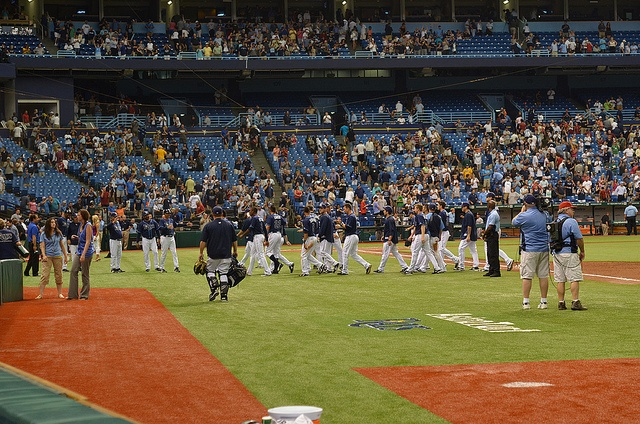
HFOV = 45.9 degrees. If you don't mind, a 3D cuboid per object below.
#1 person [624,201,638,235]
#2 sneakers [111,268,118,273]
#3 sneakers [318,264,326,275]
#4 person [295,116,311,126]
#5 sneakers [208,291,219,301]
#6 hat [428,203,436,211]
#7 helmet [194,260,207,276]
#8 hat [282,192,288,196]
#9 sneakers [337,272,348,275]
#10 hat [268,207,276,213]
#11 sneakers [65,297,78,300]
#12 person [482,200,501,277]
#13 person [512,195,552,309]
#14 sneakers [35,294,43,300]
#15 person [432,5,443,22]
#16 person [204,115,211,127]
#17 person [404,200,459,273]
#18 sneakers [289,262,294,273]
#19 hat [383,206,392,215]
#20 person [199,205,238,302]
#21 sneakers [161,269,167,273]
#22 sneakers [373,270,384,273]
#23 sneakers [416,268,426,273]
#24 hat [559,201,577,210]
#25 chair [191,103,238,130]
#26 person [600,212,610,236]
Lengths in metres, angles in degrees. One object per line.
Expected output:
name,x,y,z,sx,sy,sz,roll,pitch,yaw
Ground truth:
person,17.218,0.422,42.082,0.530,1.563,1.250,-2,0,24
sneakers,-7.500,2.125,27.497,0.262,0.174,0.092,0,1,0
sneakers,0.031,1.952,26.122,0.195,0.443,0.151,12,17,-3
person,-1.202,-6.110,51.049,0.566,0.456,1.432,21,10,-4
sneakers,-2.886,2.243,20.482,0.146,0.152,0.358,19,-52,-31
hat,3.844,-0.183,26.218,0.204,0.255,0.292,-2,0,19
helmet,-3.267,1.485,20.421,0.367,0.439,0.200,-3,20,-26
hat,-2.049,-1.051,42.782,0.221,0.099,0.315,-3,8,-27
sneakers,0.740,2.115,26.126,0.364,0.138,0.122,4,-1,12
hat,-1.655,-0.109,25.787,0.255,0.189,0.215,1,-20,-7
sneakers,-6.930,2.393,21.077,0.307,0.116,0.111,7,1,10
person,5.569,0.845,24.785,0.522,2.426,0.823,-2,0,12
person,5.280,0.998,18.924,0.803,2.764,0.565,-2,0,13
sneakers,-7.970,2.376,21.389,0.200,0.124,0.398,-2,0,-20
person,9.120,-15.637,59.614,0.889,1.430,1.685,-2,0,7
person,-7.410,-5.862,49.130,0.451,0.816,1.857,-2,0,-10
person,3.939,0.882,26.361,1.453,2.355,1.076,-2,0,9
sneakers,-1.023,1.915,26.322,0.124,0.348,0.152,-2,-3,-3
hat,2.260,-0.069,26.128,0.253,0.309,0.329,4,13,21
person,-2.742,1.123,20.262,0.951,2.549,0.761,-2,0,-9
sneakers,-5.689,2.137,27.629,0.253,0.164,0.083,-1,7,-8
sneakers,1.984,2.054,26.438,0.330,0.125,0.111,2,0,15
sneakers,3.503,2.045,26.585,0.171,0.148,0.415,1,-2,-12
hat,6.200,-0.131,19.144,0.352,0.178,0.253,-20,7,-4
chair,-7.125,-6.876,51.909,2.509,1.088,2.474,-1,2,-3
person,16.118,0.720,42.970,0.447,1.204,0.779,-2,0,20
